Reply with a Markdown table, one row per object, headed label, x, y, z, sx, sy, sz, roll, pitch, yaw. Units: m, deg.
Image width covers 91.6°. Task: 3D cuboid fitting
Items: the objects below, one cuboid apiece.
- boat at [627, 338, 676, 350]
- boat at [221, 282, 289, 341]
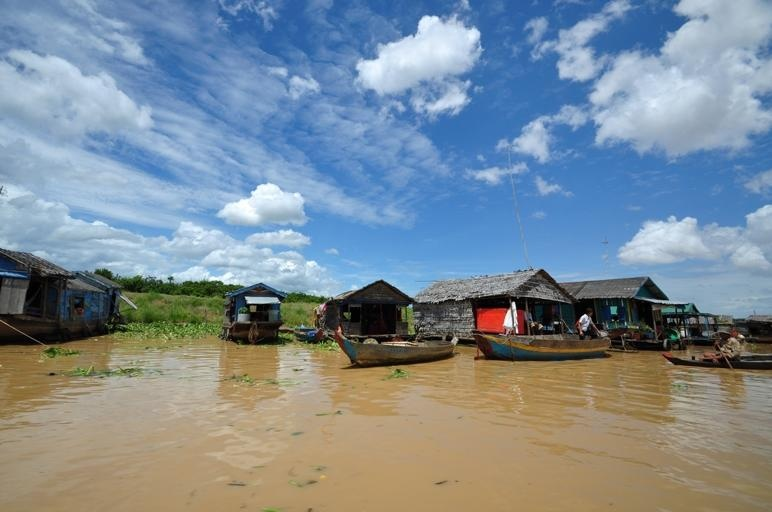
| label | x | y | z | sx | sy | sz | roll | pitch | yaw |
| --- | --- | --- | --- | --- | --- | --- | --- | --- | --- |
| boat | 15.786 | 5.381 | 22.680 | 2.841 | 0.699 | 0.794 | -1 | -3 | 6 |
| boat | -8.612 | 3.644 | 24.044 | 3.268 | 3.709 | 3.994 | 1 | -4 | -20 |
